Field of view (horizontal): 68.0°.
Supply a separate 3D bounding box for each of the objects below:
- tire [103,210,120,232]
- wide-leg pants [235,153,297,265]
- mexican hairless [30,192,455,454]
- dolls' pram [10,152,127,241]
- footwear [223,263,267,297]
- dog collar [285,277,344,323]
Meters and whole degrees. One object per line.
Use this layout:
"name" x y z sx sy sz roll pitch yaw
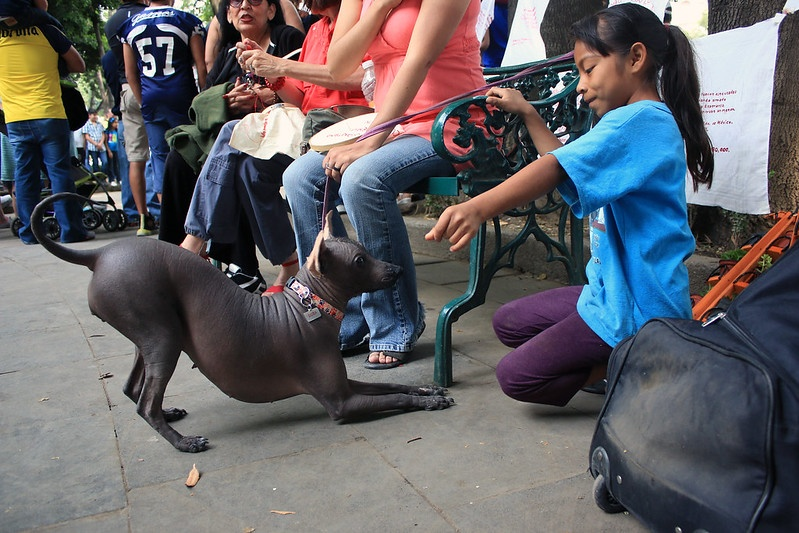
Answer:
"tire" -3.857 -0.620 7.890 0.280 0.284 0.108 -1 14 35
"wide-leg pants" -0.868 -0.393 3.834 0.359 0.915 0.410 -15 24 -35
"mexican hairless" -0.616 0.206 2.635 1.781 0.893 0.523 -3 19 2
"dolls' pram" -4.298 -1.062 8.057 1.069 1.036 0.672 -2 9 -28
"footwear" -0.953 0.076 3.627 0.295 0.124 0.106 30 -14 -25
"dog collar" -0.371 0.143 2.625 0.229 0.196 0.166 0 -1 -5
